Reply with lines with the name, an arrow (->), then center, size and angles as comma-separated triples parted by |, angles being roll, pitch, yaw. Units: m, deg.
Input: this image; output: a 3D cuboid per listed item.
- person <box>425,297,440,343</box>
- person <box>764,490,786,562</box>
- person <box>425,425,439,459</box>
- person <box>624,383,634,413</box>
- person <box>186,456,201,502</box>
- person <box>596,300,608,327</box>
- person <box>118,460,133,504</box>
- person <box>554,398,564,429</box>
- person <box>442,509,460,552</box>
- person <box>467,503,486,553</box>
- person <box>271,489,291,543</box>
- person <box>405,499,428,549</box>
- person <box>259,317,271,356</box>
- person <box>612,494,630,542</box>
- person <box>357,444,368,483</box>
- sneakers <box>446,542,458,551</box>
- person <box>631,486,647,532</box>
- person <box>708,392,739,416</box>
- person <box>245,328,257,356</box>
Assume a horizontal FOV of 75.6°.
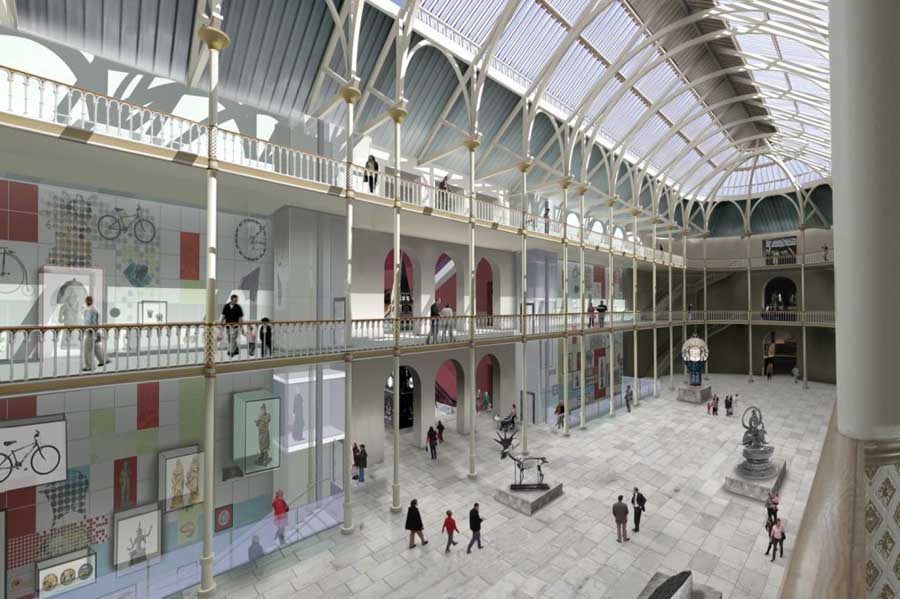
person -> -0.690, 0.929, 25.030 | 0.547, 1.708, 1.432 | -1, 3, -2
person -> 11.301, 7.868, 20.155 | 0.561, 1.879, 1.116 | 1, 4, 29
person -> -0.779, 6.531, 26.859 | 0.490, 1.294, 1.306 | -1, 4, -3
person -> 10.489, 5.695, 33.832 | 0.457, 1.285, 1.849 | 0, 4, 17
person -> -9.592, 6.716, 21.782 | 0.483, 1.837, 0.117 | -2, 3, -31
person -> 8.720, 0.839, 33.352 | 0.451, 1.379, 1.442 | 0, 4, 18
person -> -11.777, 6.633, 21.105 | 0.705, 1.747, 0.174 | -2, 3, -30
person -> 5.784, 6.084, 30.359 | 0.410, 1.153, 0.886 | 0, 3, 4
person -> 0.041, 7.973, 20.670 | 0.607, 1.499, 1.340 | -1, 3, 0
person -> 0.904, 7.848, 20.638 | 0.553, 1.702, 1.510 | 0, 3, 4
person -> -6.065, 7.806, 20.839 | 0.544, 1.526, 0.839 | -1, 3, -10
person -> -1.150, 7.904, 20.543 | 0.769, 1.619, 0.763 | 0, -5, -4
person -> -6.767, 1.321, 21.301 | 0.475, 1.318, 2.951 | -1, 4, -18
person -> 6.213, 7.711, 20.932 | 0.507, 1.643, 1.199 | 0, 3, 18
person -> -3.757, 6.872, 24.786 | 0.348, 1.449, 1.194 | -1, 3, -6
sneakers -> 0.059, 8.613, 20.314 | 0.156, 0.232, 0.501 | 0, 2, 38
person -> 6.953, 7.575, 21.388 | 0.407, 1.572, 0.973 | 0, 3, 18
person -> 15.900, 6.089, 33.647 | 0.714, 1.271, 2.990 | 3, 6, 43
person -> -7.416, 1.442, 21.494 | 0.393, 1.122, 2.276 | -2, 4, -20
